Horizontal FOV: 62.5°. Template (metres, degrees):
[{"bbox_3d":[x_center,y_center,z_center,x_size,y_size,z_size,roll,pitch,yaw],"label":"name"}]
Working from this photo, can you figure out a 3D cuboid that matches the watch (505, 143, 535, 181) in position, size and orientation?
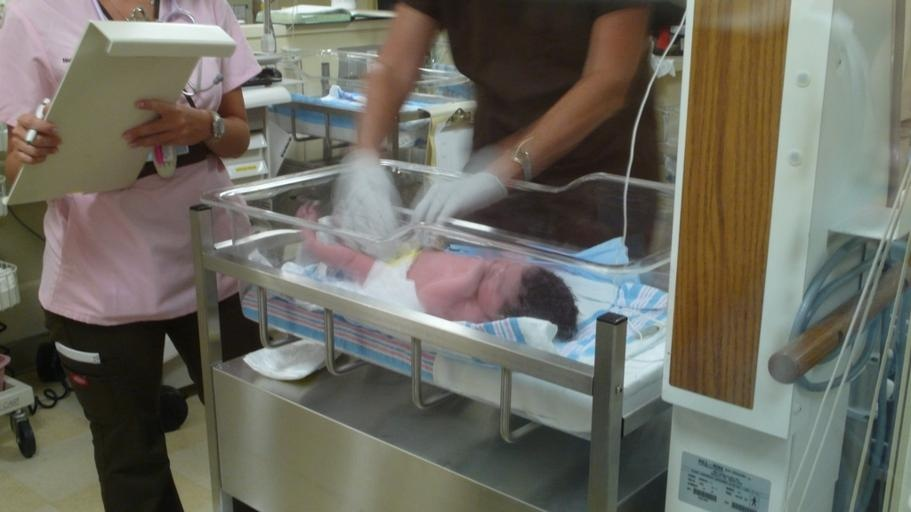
[{"bbox_3d":[0.107,-0.159,1.248,0.028,0.051,0.038,-7,19,-15],"label":"watch"}]

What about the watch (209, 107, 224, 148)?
[{"bbox_3d":[-0.606,-0.333,1.904,0.017,0.063,0.064,-6,61,-12],"label":"watch"}]
